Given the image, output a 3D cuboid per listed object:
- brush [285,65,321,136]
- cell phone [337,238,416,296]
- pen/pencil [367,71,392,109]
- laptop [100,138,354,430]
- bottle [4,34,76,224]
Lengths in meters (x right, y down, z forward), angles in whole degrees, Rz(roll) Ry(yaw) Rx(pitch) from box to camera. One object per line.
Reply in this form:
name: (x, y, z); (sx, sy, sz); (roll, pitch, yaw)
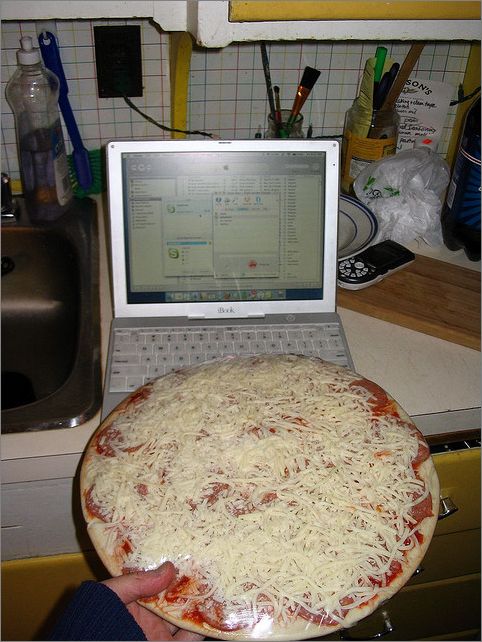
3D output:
brush: (0.115, -0.414, 0.924); (0.046, 0.116, 0.087); (7, 39, 5)
cell phone: (0.220, -0.097, 0.815); (0.135, 0.018, 0.073); (-25, 46, -26)
pen/pencil: (0.250, -0.414, 0.900); (0.019, 0.072, 0.017); (-36, 66, -18)
laptop: (-0.028, -0.076, 0.731); (0.353, 0.240, 0.343); (-2, 49, -4)
bottle: (-0.365, -0.348, 0.893); (0.099, 0.291, 0.166); (-10, 41, -16)
